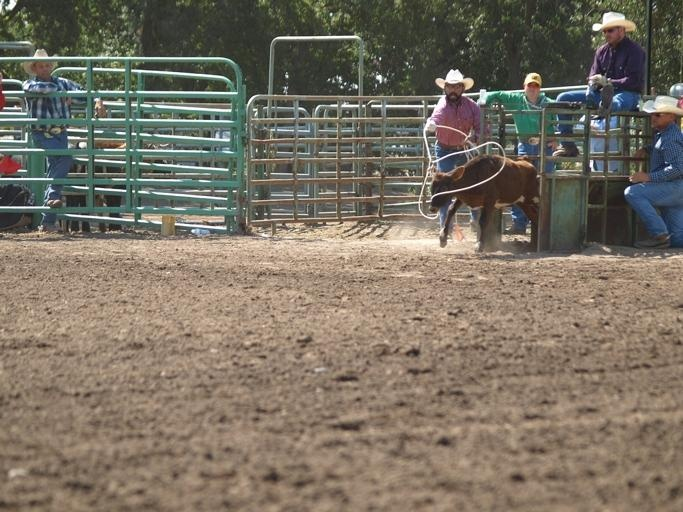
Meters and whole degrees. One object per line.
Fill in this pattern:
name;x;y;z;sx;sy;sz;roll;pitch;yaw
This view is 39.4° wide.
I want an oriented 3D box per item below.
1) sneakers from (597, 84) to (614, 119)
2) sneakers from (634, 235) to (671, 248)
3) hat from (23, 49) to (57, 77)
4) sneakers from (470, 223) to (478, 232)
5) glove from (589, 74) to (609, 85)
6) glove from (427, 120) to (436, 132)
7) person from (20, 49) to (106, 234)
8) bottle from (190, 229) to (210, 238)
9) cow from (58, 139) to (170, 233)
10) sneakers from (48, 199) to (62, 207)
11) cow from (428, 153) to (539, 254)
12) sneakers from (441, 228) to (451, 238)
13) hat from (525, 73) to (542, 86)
sneakers;3.344;-1.978;11.998;0.185;0.372;0.140;2;6;-33
sneakers;3.948;-0.207;12.124;0.394;0.193;0.168;3;2;26
hat;-4.268;-2.692;13.342;0.452;0.223;0.563;-3;27;-10
sneakers;1.935;-0.431;13.844;0.102;0.104;0.124;1;-3;-42
glove;3.254;-2.227;11.984;0.247;0.143;0.256;2;10;15
glove;1.155;-1.715;12.369;0.131;0.149;0.310;1;10;5
person;-4.069;-1.663;13.548;0.821;2.568;1.322;-7;11;-41
bottle;-2.038;-0.355;13.589;0.209;0.090;0.150;4;2;-43
cow;-3.790;-1.085;14.627;1.336;1.400;1.385;2;-2;-8
sneakers;-4.036;-0.750;13.349;0.195;0.119;0.155;7;12;38
cow;1.867;-0.693;12.015;1.594;1.195;0.589;-4;9;-21
sneakers;1.332;-0.301;12.190;0.084;0.149;0.253;-1;-4;5
hat;2.637;-2.446;13.108;0.200;0.177;0.530;1;10;8
